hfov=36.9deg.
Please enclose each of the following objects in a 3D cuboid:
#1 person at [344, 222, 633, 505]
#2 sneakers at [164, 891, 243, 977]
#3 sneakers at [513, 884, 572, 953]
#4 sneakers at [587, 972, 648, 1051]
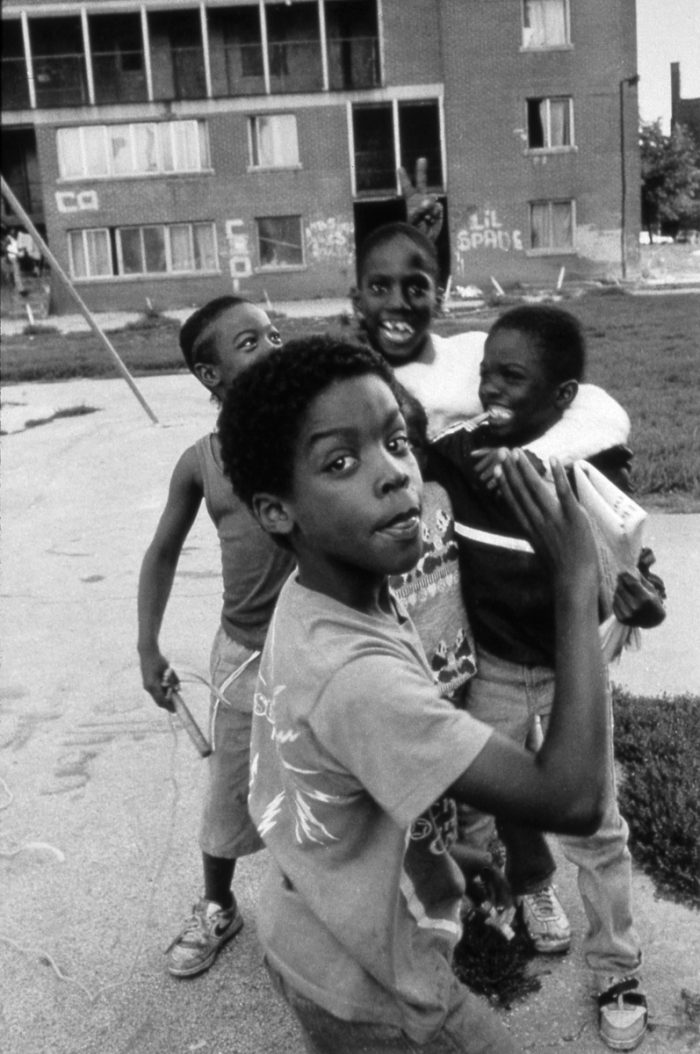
[{"bbox_3d":[0.246,-0.354,2.615,0.709,0.591,0.586,11,15,-22],"label":"person"},{"bbox_3d":[-0.315,0.888,2.331,0.072,0.098,0.209,3,13,25],"label":"sneakers"},{"bbox_3d":[0.441,0.864,2.364,0.080,0.109,0.235,-4,-5,1],"label":"sneakers"},{"bbox_3d":[0.519,0.918,1.999,0.057,0.078,0.166,-2,2,7],"label":"sneakers"}]
